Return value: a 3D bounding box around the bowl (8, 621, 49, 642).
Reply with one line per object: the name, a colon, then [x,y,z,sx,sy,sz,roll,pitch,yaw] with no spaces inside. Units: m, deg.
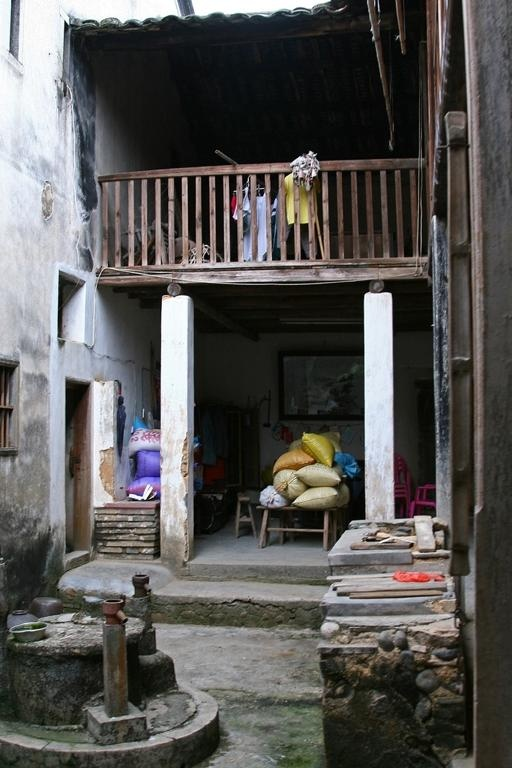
bowl: [-1.347,1.477,4.308,0.225,0.070,0.314,3,-9,-29]
